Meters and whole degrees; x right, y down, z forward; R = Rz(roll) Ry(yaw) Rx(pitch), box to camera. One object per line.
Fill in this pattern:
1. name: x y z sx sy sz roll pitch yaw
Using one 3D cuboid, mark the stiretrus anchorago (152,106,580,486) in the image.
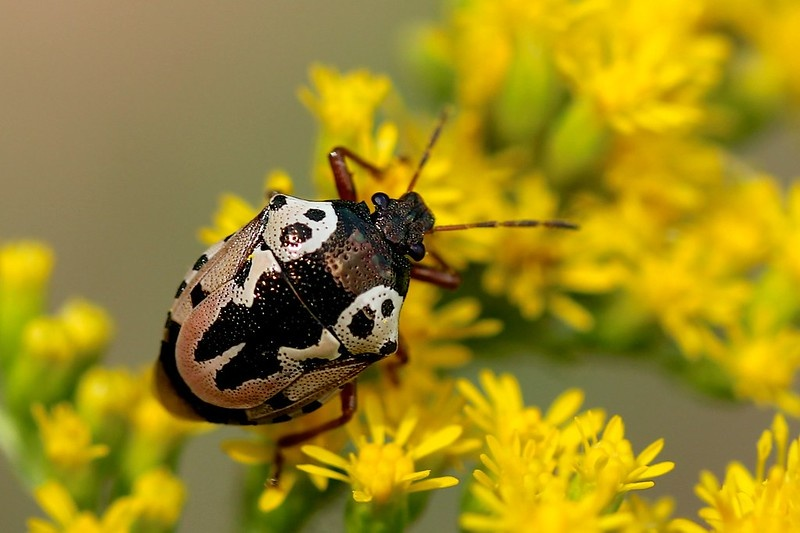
1. stiretrus anchorago: -0.308 0.084 4.888 2.024 0.561 1.204 -36 77 -16
